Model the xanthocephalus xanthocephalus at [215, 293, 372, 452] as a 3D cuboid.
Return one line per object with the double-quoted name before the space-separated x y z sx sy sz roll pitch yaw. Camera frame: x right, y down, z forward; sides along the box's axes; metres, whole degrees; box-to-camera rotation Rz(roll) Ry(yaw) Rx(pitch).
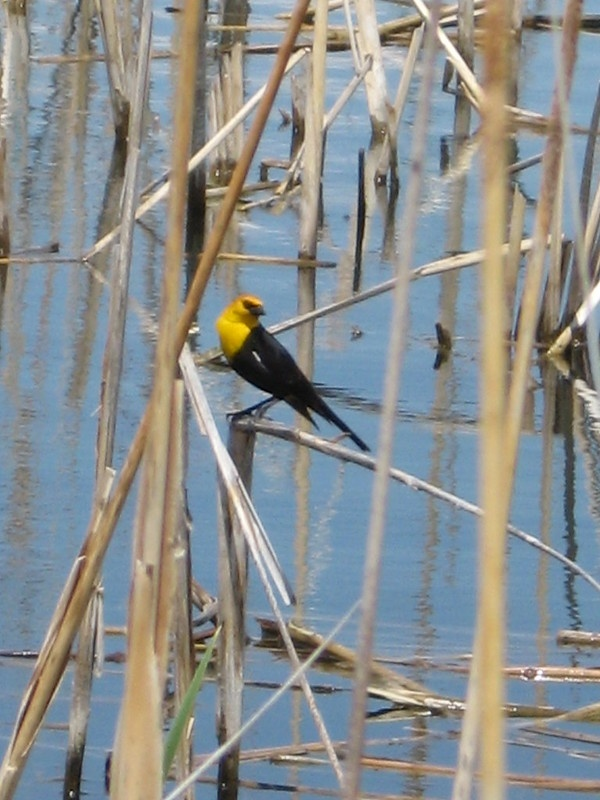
"xanthocephalus xanthocephalus" -0.030 -0.077 3.589 0.515 0.331 0.155 17 -1 13
